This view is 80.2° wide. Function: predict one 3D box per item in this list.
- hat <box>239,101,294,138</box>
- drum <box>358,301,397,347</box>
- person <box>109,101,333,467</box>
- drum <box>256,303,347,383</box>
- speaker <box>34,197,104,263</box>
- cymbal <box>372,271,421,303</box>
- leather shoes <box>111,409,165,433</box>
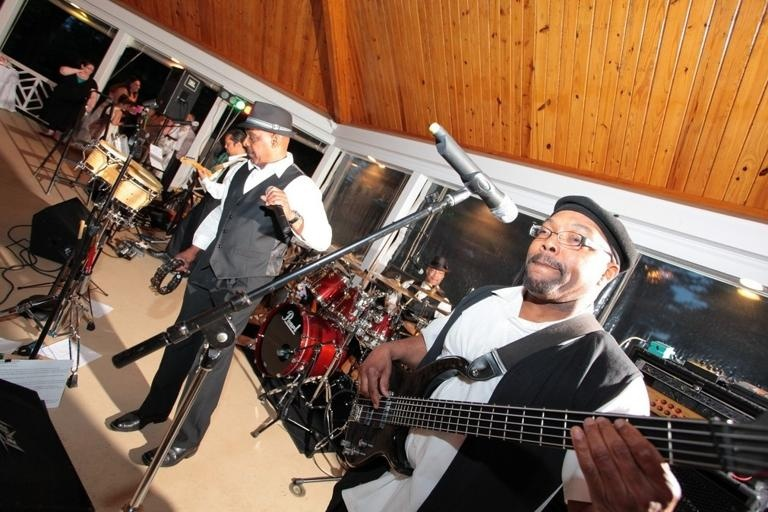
[{"bbox_3d":[-0.864,-0.960,3.414,0.308,0.130,0.276,9,23,-33],"label":"hat"},{"bbox_3d":[-0.035,0.693,4.472,0.164,0.446,0.334,37,-11,-39],"label":"drum"},{"bbox_3d":[-1.071,0.211,3.334,1.034,2.287,0.791,27,7,34],"label":"person"},{"bbox_3d":[-0.778,0.836,4.357,0.498,0.666,0.755,18,23,-50],"label":"drum"},{"bbox_3d":[-2.938,-0.223,4.253,0.466,0.466,0.474,53,16,-9],"label":"speaker"},{"bbox_3d":[0.113,0.290,4.611,0.352,0.094,0.350,27,9,-23],"label":"cymbal"},{"bbox_3d":[-1.807,1.195,3.387,0.347,0.105,0.114,8,9,-44],"label":"leather shoes"}]
